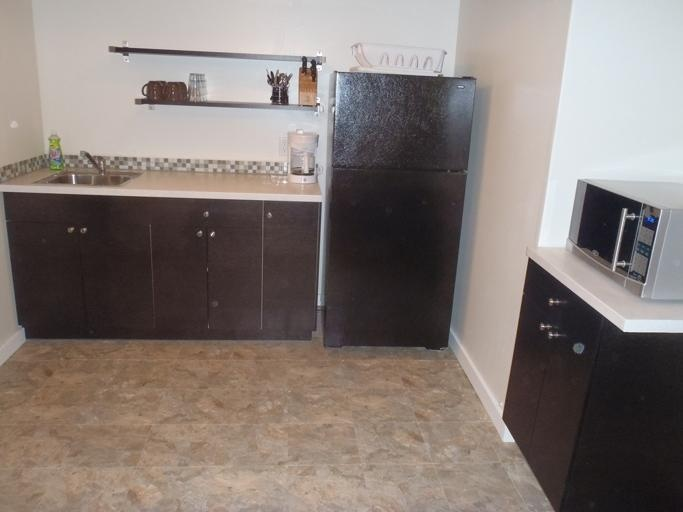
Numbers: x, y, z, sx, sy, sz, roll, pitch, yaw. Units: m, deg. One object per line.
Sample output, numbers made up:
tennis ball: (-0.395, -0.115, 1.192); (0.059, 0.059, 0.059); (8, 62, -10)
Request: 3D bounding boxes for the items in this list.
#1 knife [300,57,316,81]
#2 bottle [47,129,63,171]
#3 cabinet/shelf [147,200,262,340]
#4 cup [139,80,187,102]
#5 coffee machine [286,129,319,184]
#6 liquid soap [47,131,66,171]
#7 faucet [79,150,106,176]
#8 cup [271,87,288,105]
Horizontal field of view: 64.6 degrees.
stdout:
knife: (-0.219, -1.299, 3.716); (0.132, 0.137, 0.035); (1, 20, 8)
bottle: (-2.031, -0.741, 3.830); (0.101, 0.246, 0.223); (-8, 19, -28)
cabinet/shelf: (-0.882, 0.034, 3.703); (0.771, 1.127, 0.801); (-1, 13, -8)
cup: (-1.239, -1.137, 3.741); (0.335, 0.143, 0.197); (1, 17, 2)
coffee machine: (-0.275, -0.693, 3.762); (0.206, 0.348, 0.178); (-1, 17, -5)
liquid soap: (-2.032, -0.741, 3.830); (0.101, 0.246, 0.223); (-8, 19, -27)
faucet: (-1.777, -0.664, 3.842); (0.166, 0.123, 0.194); (4, 12, -11)
cup: (-0.427, -1.101, 3.715); (0.114, 0.112, 0.114); (1, 15, 0)
